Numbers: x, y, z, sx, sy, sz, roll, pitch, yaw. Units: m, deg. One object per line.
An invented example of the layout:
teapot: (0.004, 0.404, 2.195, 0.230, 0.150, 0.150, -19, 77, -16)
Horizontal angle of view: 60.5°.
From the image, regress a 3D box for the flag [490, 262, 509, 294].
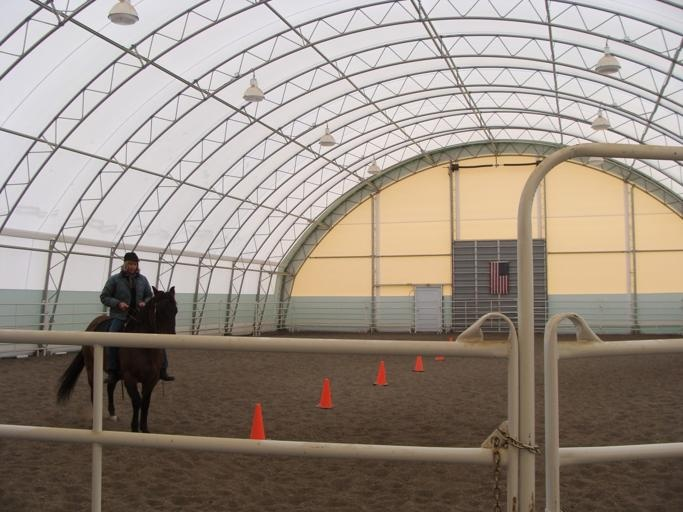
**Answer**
flag: (7.091, 0.971, 26.482, 0.852, 1.523, 0.221, -1, -7, 5)

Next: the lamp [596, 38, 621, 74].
lamp: (6.860, -5.235, 15.218, 0.649, 0.675, 0.567, -8, 28, 18)

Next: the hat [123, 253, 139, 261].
hat: (-2.931, 0.013, 8.164, 0.181, 0.108, 0.243, 3, -8, -37)

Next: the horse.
horse: (-3.135, 1.508, 8.228, 0.746, 1.703, 3.477, 8, -13, -41)
